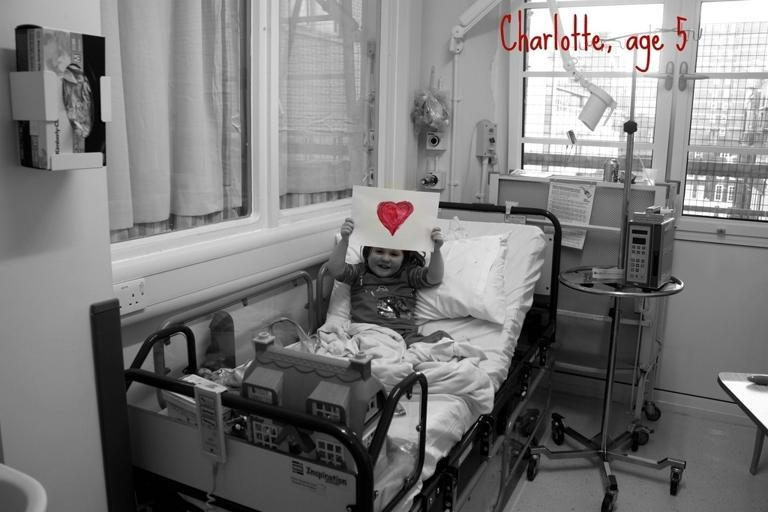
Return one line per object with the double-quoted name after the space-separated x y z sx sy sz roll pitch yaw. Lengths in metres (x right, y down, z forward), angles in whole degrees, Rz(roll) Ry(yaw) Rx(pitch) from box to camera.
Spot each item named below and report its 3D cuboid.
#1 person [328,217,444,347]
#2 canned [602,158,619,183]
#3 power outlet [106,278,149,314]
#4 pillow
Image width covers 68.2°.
-0.003 0.167 2.967 0.569 0.729 0.444 0 29 -9 "person"
1.395 -0.525 3.462 0.089 0.131 0.124 7 14 22 "canned"
-0.957 0.145 2.172 0.149 0.143 0.084 -15 -12 0 "power outlet"
0.264 0.108 2.959 0.692 0.519 0.210 7 -30 8 "pillow"
